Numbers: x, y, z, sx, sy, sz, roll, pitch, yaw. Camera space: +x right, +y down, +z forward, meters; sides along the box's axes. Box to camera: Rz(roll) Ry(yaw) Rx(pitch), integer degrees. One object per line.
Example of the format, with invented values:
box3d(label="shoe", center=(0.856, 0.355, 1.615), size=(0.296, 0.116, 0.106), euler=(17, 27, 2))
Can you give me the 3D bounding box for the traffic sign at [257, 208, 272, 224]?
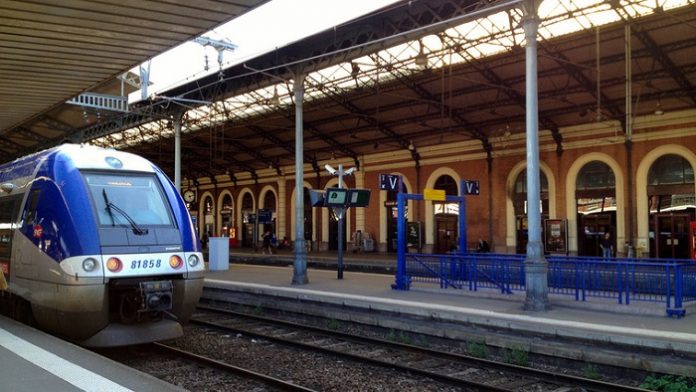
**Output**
box3d(label="traffic sign", center=(-6.806, 1.672, 45.468), size=(0.367, 1.000, 1.444), euler=(-5, -9, 39))
